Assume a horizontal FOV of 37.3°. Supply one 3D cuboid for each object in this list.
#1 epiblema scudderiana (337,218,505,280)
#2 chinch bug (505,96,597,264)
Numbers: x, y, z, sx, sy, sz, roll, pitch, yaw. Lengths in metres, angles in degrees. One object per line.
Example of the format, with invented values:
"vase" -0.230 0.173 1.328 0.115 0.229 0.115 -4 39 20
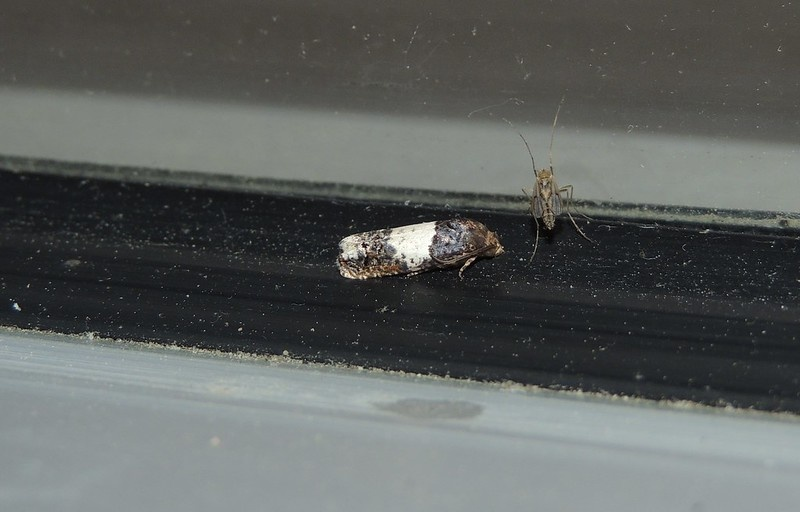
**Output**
"epiblema scudderiana" 0.255 -0.070 13.458 2.079 0.644 0.792 -2 40 -20
"chinch bug" 1.792 -0.753 13.617 0.740 1.073 1.361 -1 41 -4
